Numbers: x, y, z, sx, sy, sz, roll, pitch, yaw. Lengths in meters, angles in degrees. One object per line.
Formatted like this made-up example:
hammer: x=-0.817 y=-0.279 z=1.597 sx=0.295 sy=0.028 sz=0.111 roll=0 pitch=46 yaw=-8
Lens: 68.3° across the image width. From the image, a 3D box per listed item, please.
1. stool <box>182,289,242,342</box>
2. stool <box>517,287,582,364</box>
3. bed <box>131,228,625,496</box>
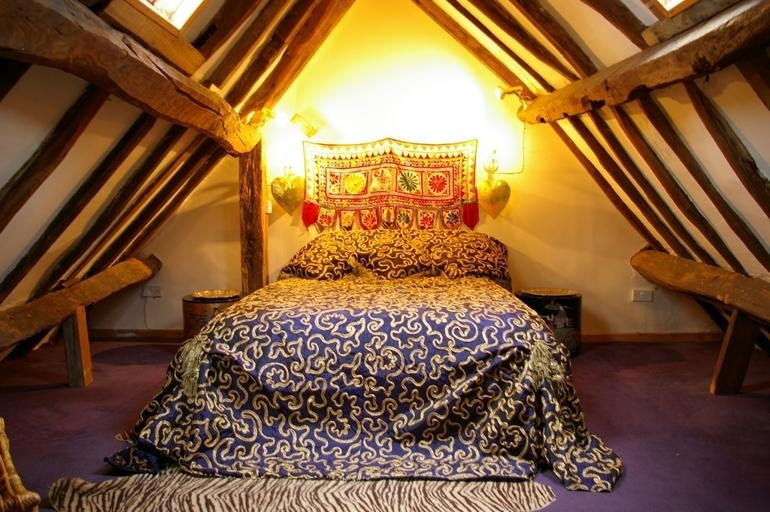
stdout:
stool: x=-1.405 y=0.515 z=4.612 sx=0.408 sy=0.395 sz=0.439 roll=10 pitch=7 yaw=-15
stool: x=1.358 y=0.521 z=4.533 sx=0.401 sy=0.480 sz=0.426 roll=-5 pitch=5 yaw=12
bed: x=-0.052 y=0.489 z=3.754 sx=2.718 sy=0.946 sz=1.936 roll=0 pitch=14 yaw=3
